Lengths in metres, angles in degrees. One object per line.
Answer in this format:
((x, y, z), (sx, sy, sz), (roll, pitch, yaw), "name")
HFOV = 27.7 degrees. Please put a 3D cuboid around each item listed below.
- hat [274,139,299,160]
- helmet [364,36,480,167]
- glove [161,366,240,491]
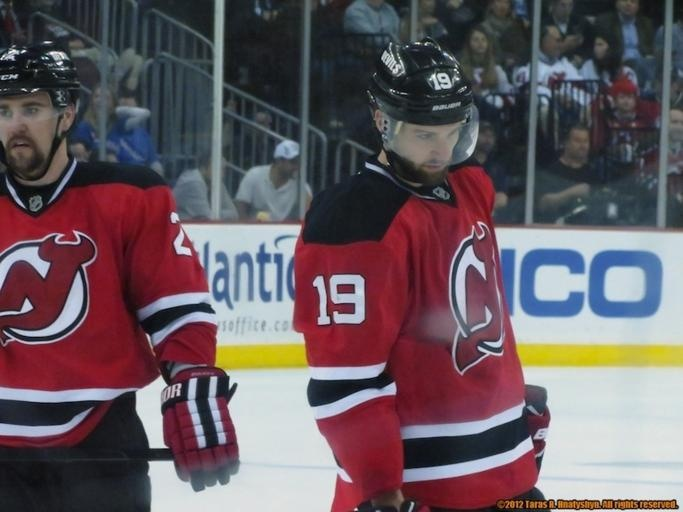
((-0.386, -0.729, 9.395), (0.165, 0.087, 0.110), (-12, 18, -24), "hat")
((0.339, -0.646, 5.783), (0.429, 0.570, 0.548), (-13, 14, -35), "helmet")
((-0.602, 0.715, 5.820), (0.358, 0.507, 0.181), (-9, -2, -9), "glove")
